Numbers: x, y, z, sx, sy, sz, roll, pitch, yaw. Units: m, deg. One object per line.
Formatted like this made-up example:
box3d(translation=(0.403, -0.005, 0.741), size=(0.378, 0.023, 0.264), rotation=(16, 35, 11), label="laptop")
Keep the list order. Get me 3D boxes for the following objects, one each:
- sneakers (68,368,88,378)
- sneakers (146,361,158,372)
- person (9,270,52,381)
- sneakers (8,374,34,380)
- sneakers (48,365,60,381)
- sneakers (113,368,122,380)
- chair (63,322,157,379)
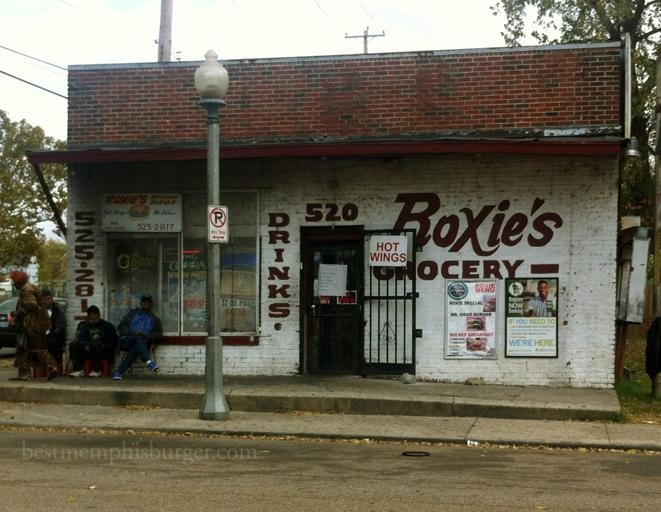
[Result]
box3d(translation=(-4.905, 2.277, 23.026), size=(0.363, 0.146, 0.124), rotation=(3, -2, 38), label="sneakers")
box3d(translation=(-3.450, 2.121, 22.918), size=(0.125, 0.133, 0.299), rotation=(-4, 2, -16), label="sneakers")
box3d(translation=(-5.683, 1.306, 22.607), size=(0.841, 2.075, 0.577), rotation=(2, -3, -18), label="person")
box3d(translation=(-5.906, 2.318, 22.557), size=(0.488, 0.181, 0.144), rotation=(4, 0, -4), label="sneakers")
box3d(translation=(-5.291, 2.242, 22.644), size=(0.190, 0.190, 0.231), rotation=(1, -15, 3), label="sneakers")
box3d(translation=(-4.038, 2.253, 22.565), size=(0.174, 0.218, 0.376), rotation=(1, -4, -11), label="sneakers")
box3d(translation=(-4.229, 1.741, 23.294), size=(1.847, 1.540, 1.086), rotation=(-1, -16, 0), label="chair")
